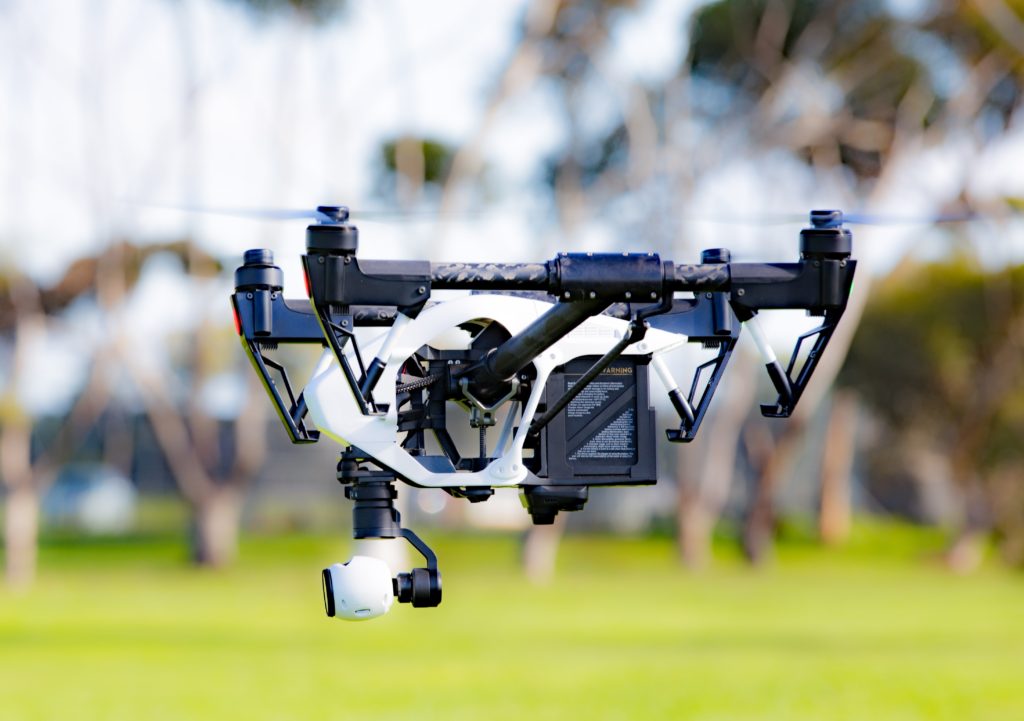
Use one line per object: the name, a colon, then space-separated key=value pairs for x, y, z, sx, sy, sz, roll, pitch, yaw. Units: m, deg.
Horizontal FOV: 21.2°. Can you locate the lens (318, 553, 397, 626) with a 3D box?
lens: x=-1.252 y=1.819 z=22.566 sx=0.552 sy=0.446 sz=0.451 roll=-1 pitch=-45 yaw=-7

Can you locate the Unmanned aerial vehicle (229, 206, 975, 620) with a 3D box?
Unmanned aerial vehicle: x=0.190 y=0.273 z=23.381 sx=4.198 sy=2.679 sz=3.401 roll=0 pitch=-10 yaw=-6
